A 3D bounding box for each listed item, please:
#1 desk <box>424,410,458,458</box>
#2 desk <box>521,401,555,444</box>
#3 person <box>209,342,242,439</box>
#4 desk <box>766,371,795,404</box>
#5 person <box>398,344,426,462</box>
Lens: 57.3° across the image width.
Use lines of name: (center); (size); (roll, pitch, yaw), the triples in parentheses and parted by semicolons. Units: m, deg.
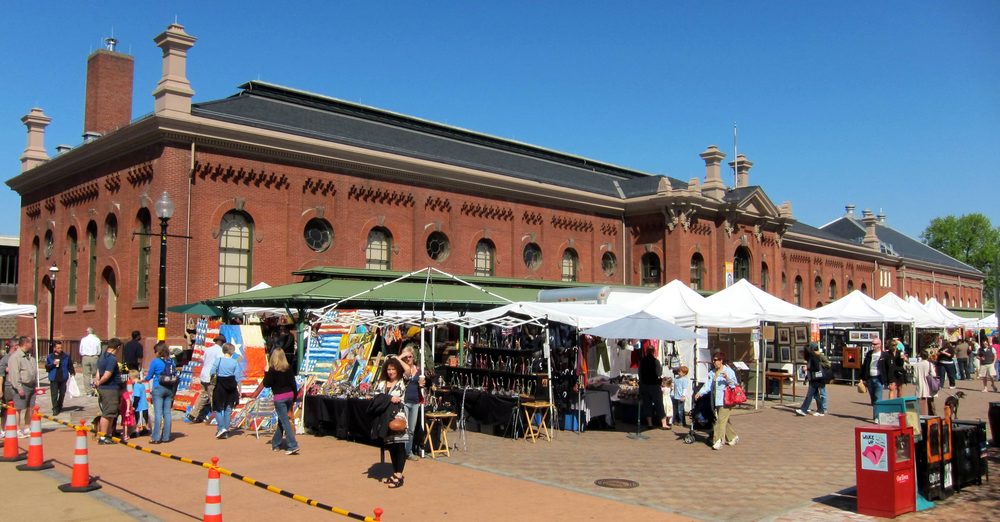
desk: (-2.629, 7.019, 37.154); (1.759, 1.601, 1.775); (5, -4, -15)
desk: (1.556, 6.824, 39.057); (1.319, 1.667, 1.604); (0, -10, 1)
person: (-11.407, 5.406, 38.310); (1.043, 3.888, 1.550); (3, -11, -16)
desk: (14.780, 6.789, 48.392); (1.726, 1.340, 2.021); (-4, -5, 33)
person: (-3.370, 5.505, 35.889); (1.023, 4.064, 1.153); (1, 0, -4)
